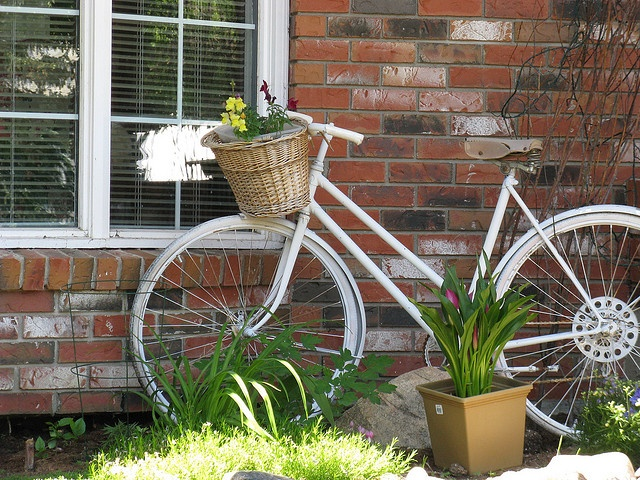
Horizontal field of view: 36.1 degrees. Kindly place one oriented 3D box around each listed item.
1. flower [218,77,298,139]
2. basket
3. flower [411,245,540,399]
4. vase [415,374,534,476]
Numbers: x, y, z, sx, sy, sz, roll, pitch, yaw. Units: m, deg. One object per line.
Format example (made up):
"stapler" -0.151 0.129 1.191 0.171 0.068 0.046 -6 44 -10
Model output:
"flower" -0.252 -0.555 4.207 0.363 0.241 0.192 -6 12 -22
"basket" -0.265 -0.310 4.310 0.390 0.330 0.406 -13 20 2
"flower" 0.632 0.375 4.058 0.436 0.519 0.473 2 2 38
"vase" 0.640 0.697 4.063 0.429 0.351 0.346 1 -5 -30
